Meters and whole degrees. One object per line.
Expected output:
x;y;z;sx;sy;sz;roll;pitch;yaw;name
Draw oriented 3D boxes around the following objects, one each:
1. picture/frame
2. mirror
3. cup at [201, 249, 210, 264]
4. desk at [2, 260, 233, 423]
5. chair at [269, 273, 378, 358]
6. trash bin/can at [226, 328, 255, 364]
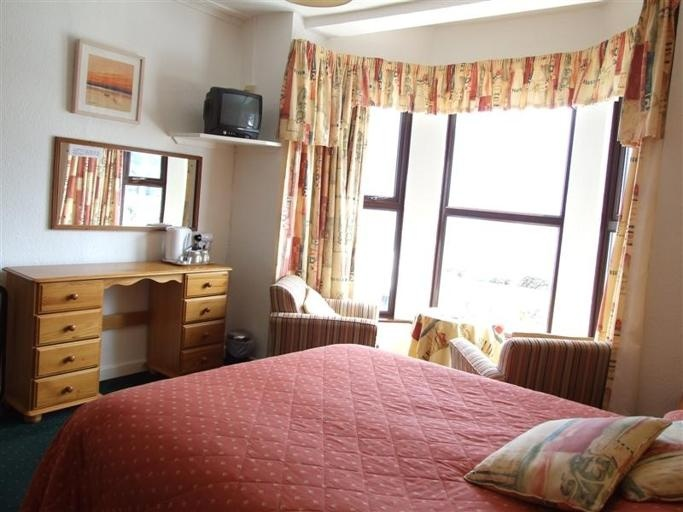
-1.780;-1.337;3.791;0.046;0.668;0.678;11;11;38;picture/frame
-1.734;-0.589;3.962;0.029;0.486;0.809;10;7;43;mirror
-1.153;0.008;4.261;0.084;0.163;0.091;0;5;0;cup
-1.566;0.554;3.414;0.361;0.648;1.030;5;5;34;desk
-0.177;0.478;4.047;0.687;0.706;0.680;-1;6;1;chair
-0.970;0.838;4.569;0.304;0.317;0.227;-4;13;-23;trash bin/can
